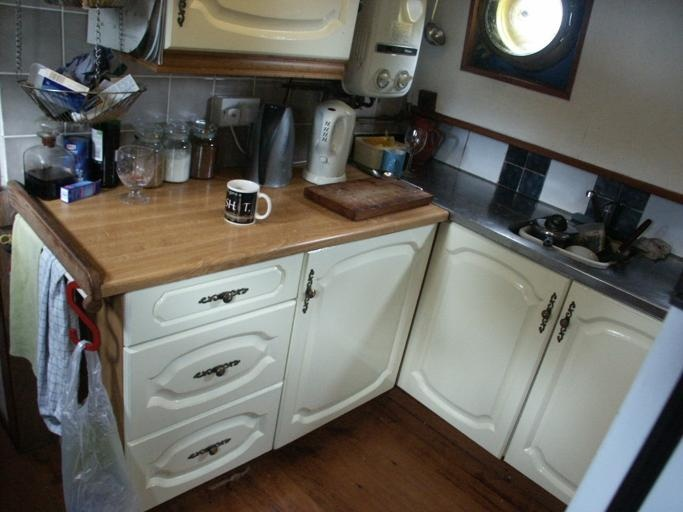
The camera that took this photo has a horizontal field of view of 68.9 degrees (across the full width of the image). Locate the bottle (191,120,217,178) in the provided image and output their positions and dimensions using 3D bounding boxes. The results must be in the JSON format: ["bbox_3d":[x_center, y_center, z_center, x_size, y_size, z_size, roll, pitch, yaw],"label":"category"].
[{"bbox_3d":[-0.541,-0.419,1.954,0.116,0.206,0.116,11,32,-7],"label":"bottle"}]

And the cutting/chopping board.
[{"bbox_3d":[0.123,-0.252,2.104,0.308,0.072,0.525,27,31,36],"label":"cutting/chopping board"}]

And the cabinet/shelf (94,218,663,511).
[{"bbox_3d":[0.114,0.458,1.903,1.738,0.958,0.793,-2,26,-19],"label":"cabinet/shelf"}]

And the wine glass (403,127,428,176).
[{"bbox_3d":[0.382,-0.555,2.568,0.100,0.224,0.273,10,25,10],"label":"wine glass"}]

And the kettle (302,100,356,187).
[{"bbox_3d":[-0.031,-0.483,2.148,0.222,0.339,0.167,-11,29,-34],"label":"kettle"}]

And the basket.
[{"bbox_3d":[-0.810,-0.482,1.592,0.196,0.069,0.189,31,38,34],"label":"basket"}]

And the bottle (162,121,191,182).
[{"bbox_3d":[-0.629,-0.394,1.887,0.120,0.214,0.121,10,31,-6],"label":"bottle"}]

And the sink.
[{"bbox_3d":[0.965,-0.068,2.085,0.287,0.096,0.303,-20,44,-30],"label":"sink"}]

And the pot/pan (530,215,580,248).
[{"bbox_3d":[0.893,-0.139,2.084,0.152,0.102,0.178,29,33,29],"label":"pot/pan"}]

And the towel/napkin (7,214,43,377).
[{"bbox_3d":[-1.004,0.105,1.587,0.064,0.467,0.363,-9,35,-38],"label":"towel/napkin"}]

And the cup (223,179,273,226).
[{"bbox_3d":[-0.334,-0.183,1.794,0.192,0.151,0.126,10,27,-27],"label":"cup"}]

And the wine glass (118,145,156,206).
[{"bbox_3d":[-0.705,-0.276,1.711,0.118,0.186,0.123,-6,52,-29],"label":"wine glass"}]

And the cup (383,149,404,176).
[{"bbox_3d":[0.254,-0.458,2.456,0.108,0.128,0.117,3,38,-2],"label":"cup"}]
